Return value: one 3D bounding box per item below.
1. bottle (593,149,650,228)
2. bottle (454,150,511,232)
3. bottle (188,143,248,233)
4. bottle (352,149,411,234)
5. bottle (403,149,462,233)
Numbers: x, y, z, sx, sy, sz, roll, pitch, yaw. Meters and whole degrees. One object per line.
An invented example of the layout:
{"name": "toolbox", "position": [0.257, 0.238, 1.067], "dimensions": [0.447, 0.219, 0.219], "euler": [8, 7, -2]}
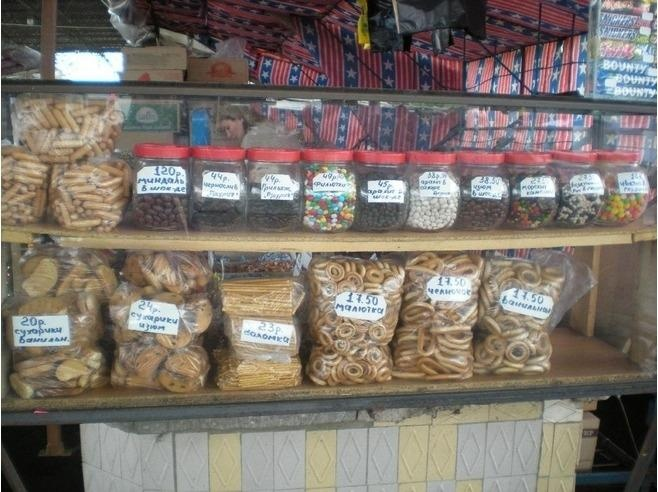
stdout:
{"name": "bottle", "position": [1.419, -0.287, 3.601], "dimensions": [0.257, 0.327, 0.329], "euler": [-1, 5, -2]}
{"name": "bottle", "position": [0.720, -0.268, 3.342], "dimensions": [0.322, 0.377, 0.248], "euler": [1, 7, 12]}
{"name": "bottle", "position": [-0.490, -0.271, 3.337], "dimensions": [0.314, 0.537, 0.326], "euler": [1, 9, 0]}
{"name": "bottle", "position": [0.240, -0.252, 3.276], "dimensions": [0.240, 0.334, 0.336], "euler": [0, 2, -4]}
{"name": "bottle", "position": [0.425, -0.260, 3.333], "dimensions": [0.240, 0.331, 0.332], "euler": [1, 3, -3]}
